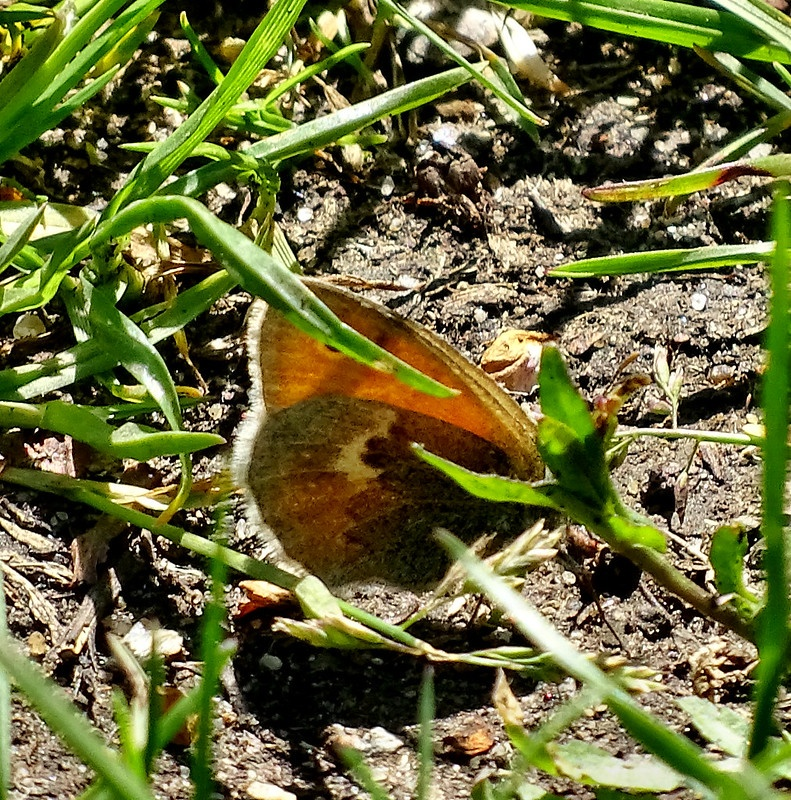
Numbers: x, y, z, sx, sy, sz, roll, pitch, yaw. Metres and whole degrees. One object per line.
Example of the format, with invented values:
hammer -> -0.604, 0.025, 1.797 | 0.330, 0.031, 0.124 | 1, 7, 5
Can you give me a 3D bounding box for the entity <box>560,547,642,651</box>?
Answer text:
entity -> 0.367, 0.391, 2.104 | 0.151, 0.078, 0.179 | -21, 79, -33
